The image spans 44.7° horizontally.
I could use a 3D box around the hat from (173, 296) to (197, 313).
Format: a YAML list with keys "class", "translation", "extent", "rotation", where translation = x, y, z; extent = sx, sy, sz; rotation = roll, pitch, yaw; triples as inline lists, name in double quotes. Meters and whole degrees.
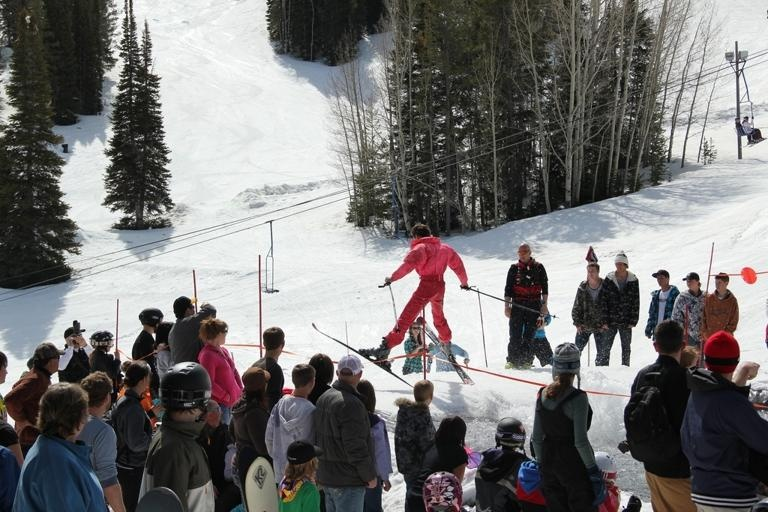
- class: "hat"
  translation: [-6.168, 1.538, 29.101]
  extent: [0.469, 0.373, 0.671]
  rotation: [9, 34, 32]

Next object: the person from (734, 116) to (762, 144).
- class: "person"
  translation: [18.010, -6.235, 46.392]
  extent: [1.026, 1.375, 2.367]
  rotation: [-1, 4, 20]

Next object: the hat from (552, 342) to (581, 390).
- class: "hat"
  translation: [5.177, 2.974, 26.359]
  extent: [0.893, 0.995, 0.521]
  rotation: [-4, 4, -26]

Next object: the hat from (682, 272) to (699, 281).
- class: "hat"
  translation: [10.287, 0.718, 31.208]
  extent: [0.520, 0.261, 0.334]
  rotation: [16, -2, -4]

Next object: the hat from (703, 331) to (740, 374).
- class: "hat"
  translation: [9.287, 2.701, 25.741]
  extent: [0.838, 0.777, 1.195]
  rotation: [0, 42, 20]

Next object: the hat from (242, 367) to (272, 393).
- class: "hat"
  translation: [-3.601, 3.530, 26.721]
  extent: [0.811, 0.682, 0.385]
  rotation: [-4, 4, -27]
